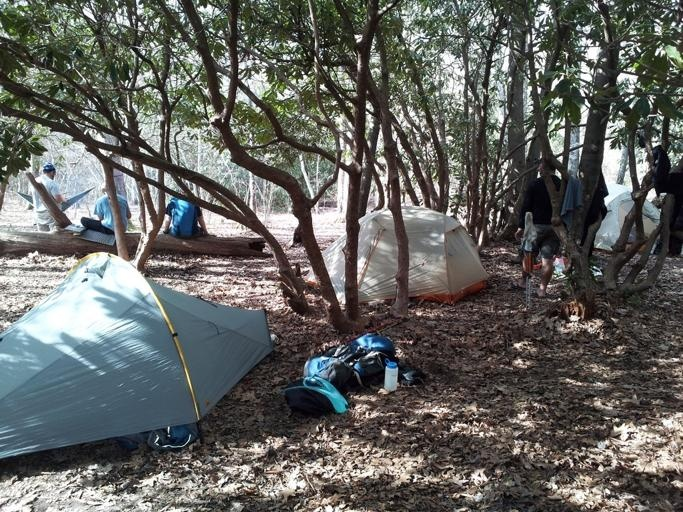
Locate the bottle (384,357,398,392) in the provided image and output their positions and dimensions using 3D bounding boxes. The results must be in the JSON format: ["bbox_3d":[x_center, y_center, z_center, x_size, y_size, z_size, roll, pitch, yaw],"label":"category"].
[{"bbox_3d":[0.495,1.205,5.438,0.152,0.274,0.187,-4,13,5],"label":"bottle"}]

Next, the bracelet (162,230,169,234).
[{"bbox_3d":[-3.395,-0.451,10.354,0.116,0.080,0.088,-4,7,-18],"label":"bracelet"}]

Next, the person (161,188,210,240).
[{"bbox_3d":[-3.032,-0.850,10.377,0.987,0.964,0.637,2,8,-13],"label":"person"}]

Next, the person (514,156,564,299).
[{"bbox_3d":[2.624,-0.360,7.203,0.570,1.878,1.322,0,13,19],"label":"person"}]

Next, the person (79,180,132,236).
[{"bbox_3d":[-4.115,-0.747,9.322,0.816,0.891,1.525,-10,13,-24],"label":"person"}]

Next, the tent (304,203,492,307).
[{"bbox_3d":[0.952,0.001,7.594,2.264,1.237,0.913,-3,13,4],"label":"tent"}]

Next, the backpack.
[{"bbox_3d":[0.166,1.083,5.657,0.774,0.265,0.541,-7,11,-22],"label":"backpack"}]
